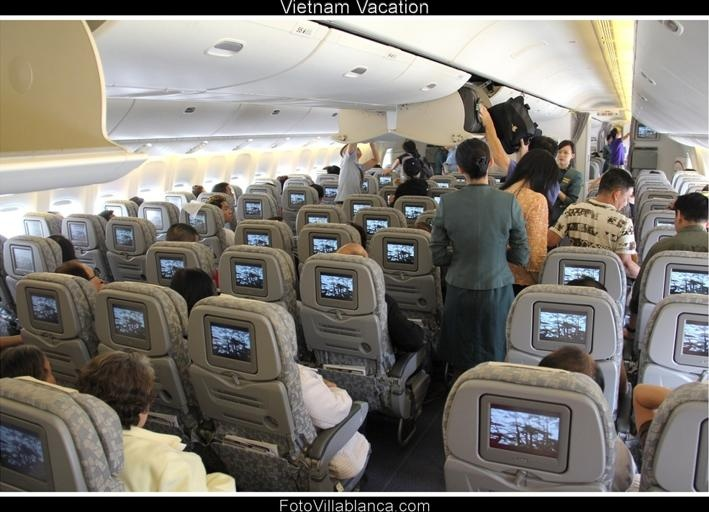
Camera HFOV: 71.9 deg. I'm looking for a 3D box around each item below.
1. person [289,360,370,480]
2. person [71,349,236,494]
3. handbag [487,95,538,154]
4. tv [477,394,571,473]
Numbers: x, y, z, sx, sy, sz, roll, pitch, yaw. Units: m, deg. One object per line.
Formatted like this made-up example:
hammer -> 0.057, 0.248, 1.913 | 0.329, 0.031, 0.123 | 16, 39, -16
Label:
person -> -0.150, 0.959, 2.818 | 0.249, 0.747, 0.588 | 4, 7, 32
person -> -0.872, 0.732, 2.203 | 0.637, 0.689, 0.425 | 13, 35, 17
handbag -> 1.903, -1.598, 6.008 | 0.729, 0.692, 0.304 | -26, -2, -38
tv -> 0.627, 0.635, 1.783 | 0.340, 0.279, 0.034 | 7, 27, 18
